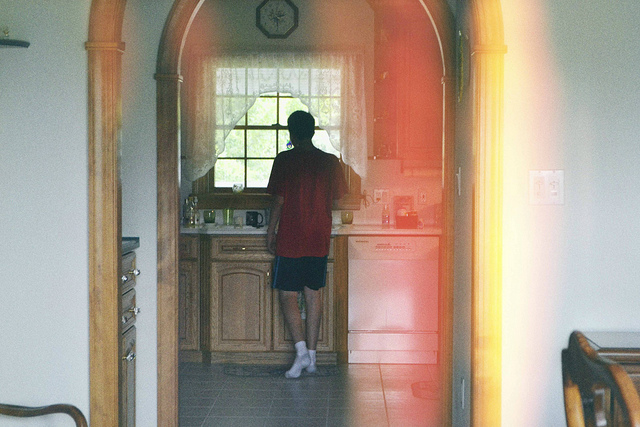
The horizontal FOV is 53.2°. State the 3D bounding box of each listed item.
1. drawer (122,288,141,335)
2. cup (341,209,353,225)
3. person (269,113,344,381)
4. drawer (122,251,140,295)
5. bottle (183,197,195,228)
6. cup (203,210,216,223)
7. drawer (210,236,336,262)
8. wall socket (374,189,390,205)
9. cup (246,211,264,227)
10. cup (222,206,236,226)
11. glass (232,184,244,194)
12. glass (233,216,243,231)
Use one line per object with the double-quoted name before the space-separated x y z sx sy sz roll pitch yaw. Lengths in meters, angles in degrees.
"drawer" -1.019 0.518 3.467 0.067 0.220 0.229 13 -10 -7
"cup" 0.223 0.032 5.346 0.096 0.105 0.185 -1 -3 5
"person" -0.074 0.227 4.720 0.544 1.896 0.413 -3 11 -15
"drawer" -1.019 0.315 3.433 0.071 0.180 0.254 -1 4 8
"bottle" -1.072 -0.005 5.228 0.096 0.206 0.277 -3 11 -12
"cup" -0.928 0.022 5.377 0.116 0.123 0.085 1 6 2
"drawer" -0.588 0.268 4.855 0.475 0.167 0.042 0 10 2
"wall socket" 0.535 -0.150 5.500 0.121 0.127 0.019 1 0 -2
"cup" -0.525 0.042 5.280 0.146 0.133 0.092 -1 1 -29
"cup" -0.773 0.019 5.386 0.132 0.218 0.134 0 3 0
"glass" -0.710 -0.214 5.536 0.074 0.065 0.074 -1 6 -2
"glass" -0.670 0.080 5.239 0.098 0.118 0.100 0 0 -19
